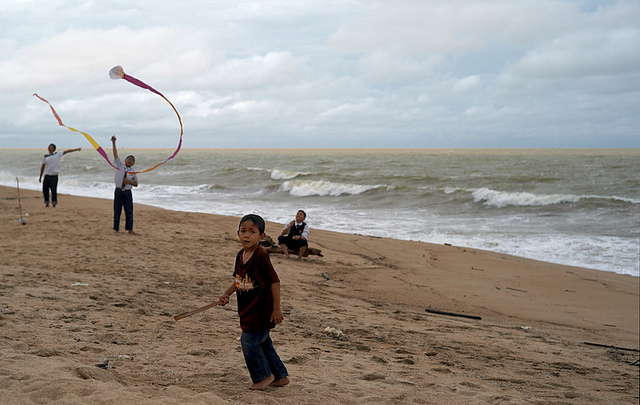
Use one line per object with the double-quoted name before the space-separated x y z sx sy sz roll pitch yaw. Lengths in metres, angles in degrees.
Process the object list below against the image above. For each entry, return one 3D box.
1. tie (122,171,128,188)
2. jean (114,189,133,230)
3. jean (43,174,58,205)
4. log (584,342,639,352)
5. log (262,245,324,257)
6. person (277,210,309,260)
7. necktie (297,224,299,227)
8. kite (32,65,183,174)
"tie" -4.533 -0.539 14.165 0.114 0.281 0.219 7 8 7
"jean" -4.638 0.180 14.409 0.448 0.985 0.334 4 10 -17
"jean" -7.826 -0.384 17.580 0.384 0.887 0.399 8 9 5
"log" 5.417 2.689 11.295 0.953 0.034 0.142 7 8 12
"log" -0.679 1.206 15.054 0.739 0.182 0.717 -4 -15 32
"person" -0.578 0.805 14.809 0.782 1.233 0.729 6 -8 16
"necktie" -0.520 0.570 14.738 0.038 0.067 0.010 9 9 14
"kite" -3.365 -1.346 9.532 2.013 0.472 2.378 -23 53 -17
